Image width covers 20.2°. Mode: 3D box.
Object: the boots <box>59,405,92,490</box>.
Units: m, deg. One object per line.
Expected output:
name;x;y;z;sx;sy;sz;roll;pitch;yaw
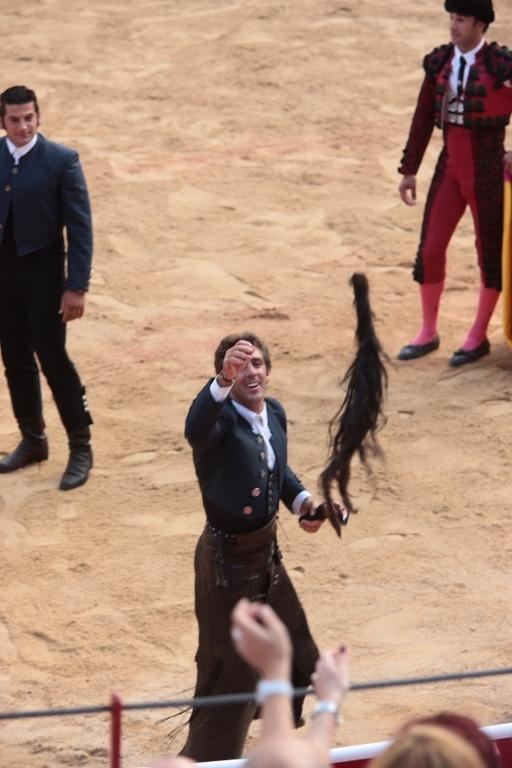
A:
boots;-0.847;0.322;6.679;0.143;0.297;0.336;4;26;7

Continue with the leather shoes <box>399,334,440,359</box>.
leather shoes;0.881;-0.219;7.758;0.260;0.095;0.096;-18;14;-29

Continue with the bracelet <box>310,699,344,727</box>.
bracelet;0.171;0.792;3.559;0.091;0.076;0.080;3;52;1

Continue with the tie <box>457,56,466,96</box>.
tie;0.987;-1.492;6.946;0.031;0.182;0.050;3;21;2
